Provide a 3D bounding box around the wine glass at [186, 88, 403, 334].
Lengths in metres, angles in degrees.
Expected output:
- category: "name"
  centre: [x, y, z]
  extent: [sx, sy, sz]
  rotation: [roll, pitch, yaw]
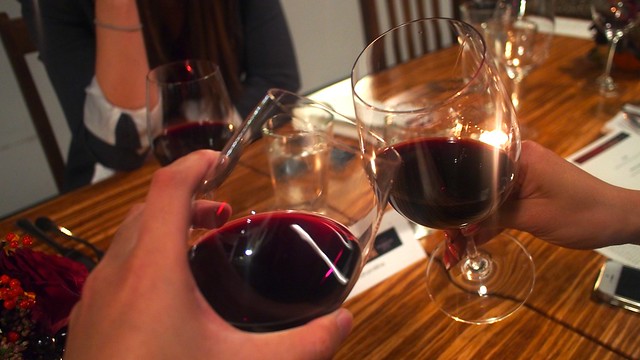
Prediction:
- category: "wine glass"
  centre: [-0.105, 0.064, 0.852]
  extent: [0.390, 0.408, 0.396]
  rotation: [3, -4, -8]
